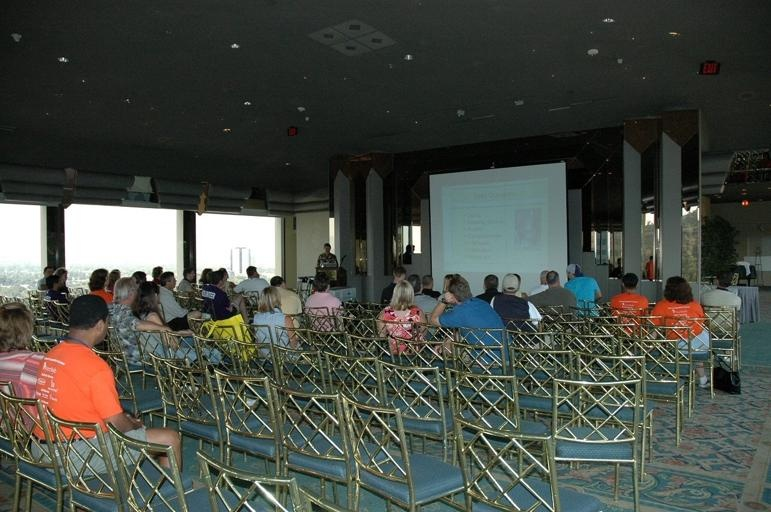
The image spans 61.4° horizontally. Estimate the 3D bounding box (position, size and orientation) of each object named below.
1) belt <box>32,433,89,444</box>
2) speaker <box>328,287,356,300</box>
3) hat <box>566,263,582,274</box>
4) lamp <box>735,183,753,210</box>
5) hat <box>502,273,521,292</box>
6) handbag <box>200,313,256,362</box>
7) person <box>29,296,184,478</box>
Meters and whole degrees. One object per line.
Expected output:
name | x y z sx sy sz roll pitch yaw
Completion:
belt | -2.754 1.551 5.526 0.183 0.046 0.180 -2 -5 37
speaker | -0.860 0.798 14.006 0.292 0.336 0.517 2 2 33
hat | 3.197 0.214 11.105 0.150 0.125 0.231 17 2 23
lamp | 11.928 -2.063 21.695 0.695 0.286 1.090 -1 -43 37
hat | 1.607 0.340 8.275 0.178 0.135 0.276 4 18 25
handbag | -1.858 0.971 7.605 0.431 0.727 0.521 5 14 26
person | -2.478 1.018 5.727 1.032 1.351 0.457 0 -1 -30
